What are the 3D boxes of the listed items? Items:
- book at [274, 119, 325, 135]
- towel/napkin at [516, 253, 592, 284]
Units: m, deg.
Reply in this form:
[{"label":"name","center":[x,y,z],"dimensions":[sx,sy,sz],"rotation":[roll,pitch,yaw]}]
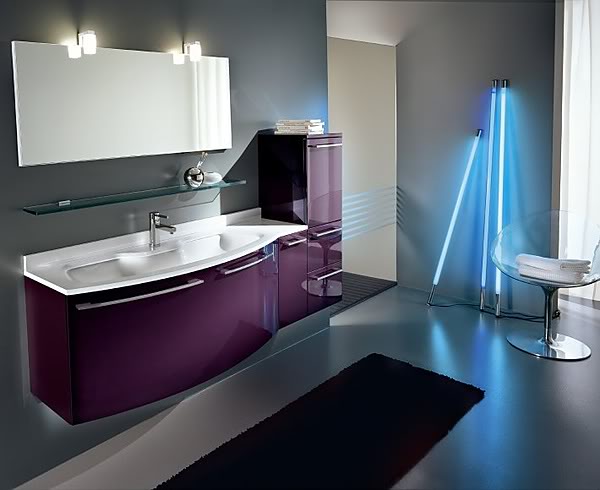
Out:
[{"label":"book","center":[-0.020,-0.946,3.623],"dimensions":[0.396,0.120,0.335],"rotation":[-1,14,2]},{"label":"towel/napkin","center":[1.963,0.183,3.492],"dimensions":[0.516,0.157,0.166],"rotation":[6,16,28]}]
